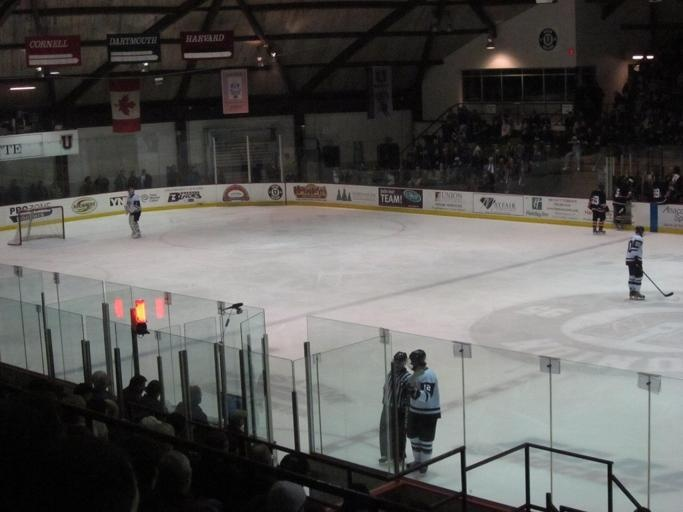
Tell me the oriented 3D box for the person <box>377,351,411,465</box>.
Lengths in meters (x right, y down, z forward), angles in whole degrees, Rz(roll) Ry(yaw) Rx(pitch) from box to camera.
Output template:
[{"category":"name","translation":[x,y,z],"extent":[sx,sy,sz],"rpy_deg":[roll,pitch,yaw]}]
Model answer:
[{"category":"person","translation":[0.687,1.996,9.797],"extent":[0.420,1.617,0.258],"rpy_deg":[-1,11,3]}]

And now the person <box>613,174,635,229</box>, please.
[{"category":"person","translation":[9.246,-1.700,25.441],"extent":[0.597,1.659,1.014],"rpy_deg":[2,12,20]}]

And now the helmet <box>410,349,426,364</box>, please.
[{"category":"helmet","translation":[0.969,1.275,9.663],"extent":[0.190,0.168,0.134],"rpy_deg":[6,-4,-26]}]

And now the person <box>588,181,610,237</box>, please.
[{"category":"person","translation":[8.300,-1.497,24.986],"extent":[0.566,1.591,0.932],"rpy_deg":[2,12,20]}]

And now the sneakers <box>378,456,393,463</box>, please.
[{"category":"sneakers","translation":[0.566,2.663,9.991],"extent":[0.127,0.052,0.069],"rpy_deg":[8,11,32]}]

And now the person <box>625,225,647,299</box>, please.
[{"category":"person","translation":[6.729,0.148,17.649],"extent":[0.421,1.637,1.098],"rpy_deg":[2,12,21]}]

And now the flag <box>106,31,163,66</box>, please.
[{"category":"flag","translation":[-7.700,-7.801,29.005],"extent":[1.867,1.037,0.543],"rpy_deg":[-3,11,-7]}]

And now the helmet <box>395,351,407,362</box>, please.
[{"category":"helmet","translation":[0.745,1.267,9.583],"extent":[0.100,0.101,0.122],"rpy_deg":[-3,-4,-2]}]
